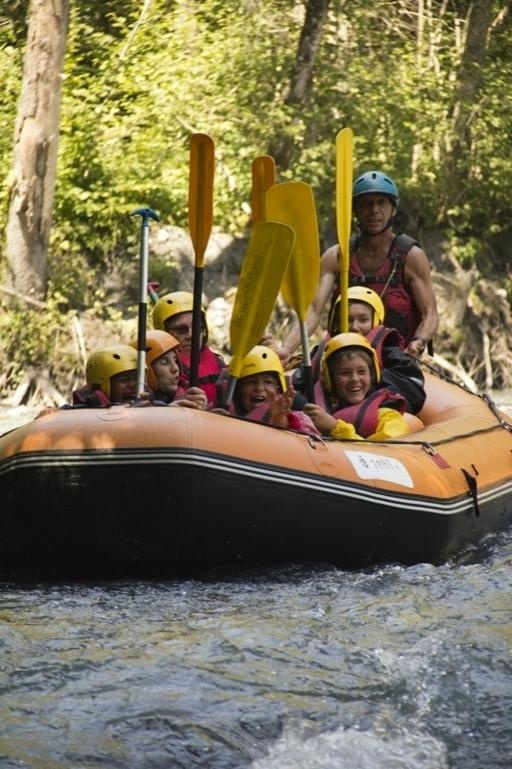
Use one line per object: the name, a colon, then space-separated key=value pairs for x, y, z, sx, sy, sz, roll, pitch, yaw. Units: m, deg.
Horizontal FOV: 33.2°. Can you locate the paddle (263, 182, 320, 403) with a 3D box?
paddle: x=0.188 y=-0.422 z=3.870 sx=0.252 sy=0.998 sz=0.114 roll=-4 pitch=8 yaw=15

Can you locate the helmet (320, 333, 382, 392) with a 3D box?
helmet: x=0.419 y=-0.114 z=3.766 sx=0.242 sy=0.266 sz=0.224 roll=-3 pitch=8 yaw=6

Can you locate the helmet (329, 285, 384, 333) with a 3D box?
helmet: x=0.552 y=-0.340 z=4.359 sx=0.239 sy=0.272 sz=0.261 roll=3 pitch=47 yaw=17

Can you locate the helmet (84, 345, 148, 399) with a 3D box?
helmet: x=-0.590 y=-0.043 z=3.309 sx=0.239 sy=0.183 sz=0.172 roll=-16 pitch=-6 yaw=19

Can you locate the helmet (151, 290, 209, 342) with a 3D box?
helmet: x=-0.387 y=-0.344 z=4.113 sx=0.246 sy=0.187 sz=0.183 roll=-11 pitch=1 yaw=43

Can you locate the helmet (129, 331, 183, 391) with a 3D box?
helmet: x=-0.416 y=-0.109 z=3.549 sx=0.244 sy=0.207 sz=0.171 roll=-18 pitch=1 yaw=6

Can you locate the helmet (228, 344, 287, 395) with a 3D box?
helmet: x=0.010 y=-0.061 z=3.458 sx=0.141 sy=0.135 sz=0.181 roll=-17 pitch=8 yaw=25

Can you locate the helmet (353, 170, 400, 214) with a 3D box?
helmet: x=0.653 y=-1.070 z=4.692 sx=0.242 sy=0.205 sz=0.308 roll=5 pitch=9 yaw=6

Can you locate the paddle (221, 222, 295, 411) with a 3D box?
paddle: x=-0.007 y=-0.312 z=3.394 sx=0.209 sy=0.856 sz=0.048 roll=17 pitch=-2 yaw=-3
